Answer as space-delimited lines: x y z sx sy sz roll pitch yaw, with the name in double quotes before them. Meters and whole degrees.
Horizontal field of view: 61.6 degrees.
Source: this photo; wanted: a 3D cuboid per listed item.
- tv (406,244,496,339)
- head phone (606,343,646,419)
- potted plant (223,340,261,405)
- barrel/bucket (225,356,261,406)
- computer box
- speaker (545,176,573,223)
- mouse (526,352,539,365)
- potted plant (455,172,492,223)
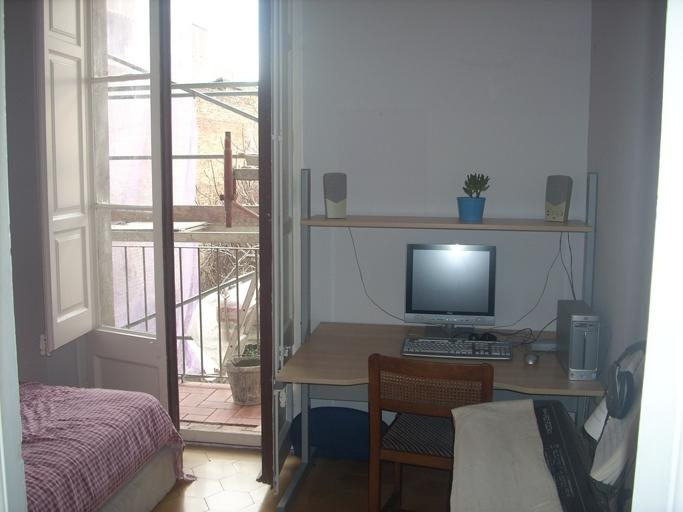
"tv" 0.564 0.171 2.960 0.439 0.471 0.191 1 2 8
"head phone" 0.914 0.402 1.850 0.101 0.214 0.281 3 9 28
"potted plant" -0.677 0.859 4.028 0.305 0.347 0.316 -1 5 -37
"barrel/bucket" -0.680 0.872 4.010 0.229 0.286 0.244 -1 8 0
"computer box" 1.082 0.381 2.604 0.188 0.291 0.321 2 8 19
"speaker" 1.093 -0.286 2.882 0.117 0.223 0.078 8 7 44
"mouse" 0.902 0.491 2.713 0.042 0.046 0.016 -6 -13 29
"potted plant" 0.689 -0.307 2.985 0.151 0.257 0.174 8 1 -37
